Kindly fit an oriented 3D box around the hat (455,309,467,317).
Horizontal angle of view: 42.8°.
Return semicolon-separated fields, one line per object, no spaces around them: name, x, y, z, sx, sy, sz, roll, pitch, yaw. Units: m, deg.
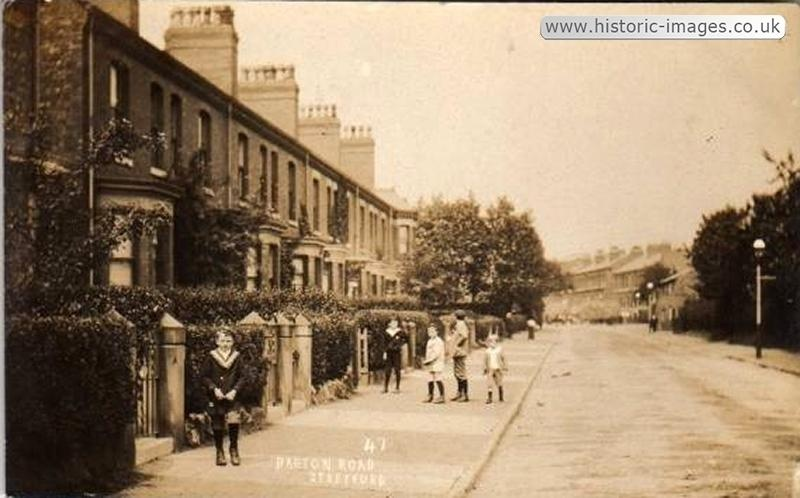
hat;1.299;1.426;22.746;0.129;0.161;0.166;3;5;-8

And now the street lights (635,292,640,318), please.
street lights;5.034;1.178;21.862;0.075;0.535;0.149;2;-7;-30

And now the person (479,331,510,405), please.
person;2.123;2.740;23.497;0.505;1.601;1.301;-2;-7;4

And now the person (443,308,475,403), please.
person;1.290;2.413;22.942;0.501;2.032;0.805;-2;-7;4

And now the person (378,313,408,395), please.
person;-0.161;2.491;23.718;0.553;1.673;1.262;-1;-7;-1
